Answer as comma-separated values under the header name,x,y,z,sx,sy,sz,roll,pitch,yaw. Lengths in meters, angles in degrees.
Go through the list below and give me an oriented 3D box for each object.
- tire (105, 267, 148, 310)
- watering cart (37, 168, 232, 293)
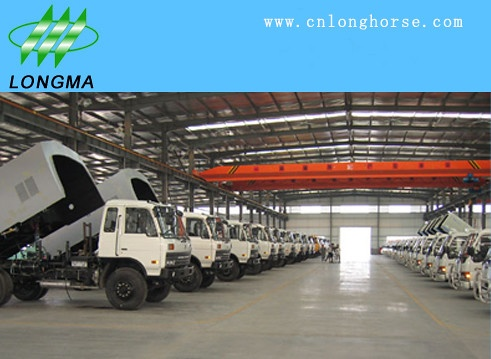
name,x,y,z,sx,sy,sz,roll,pitch,yaw
tire,-3.275,2.996,11.751,1.152,1.148,0.320,-1,-8,15
watering cart,-4.204,1.667,14.966,6.532,3.434,3.411,-1,-5,4
